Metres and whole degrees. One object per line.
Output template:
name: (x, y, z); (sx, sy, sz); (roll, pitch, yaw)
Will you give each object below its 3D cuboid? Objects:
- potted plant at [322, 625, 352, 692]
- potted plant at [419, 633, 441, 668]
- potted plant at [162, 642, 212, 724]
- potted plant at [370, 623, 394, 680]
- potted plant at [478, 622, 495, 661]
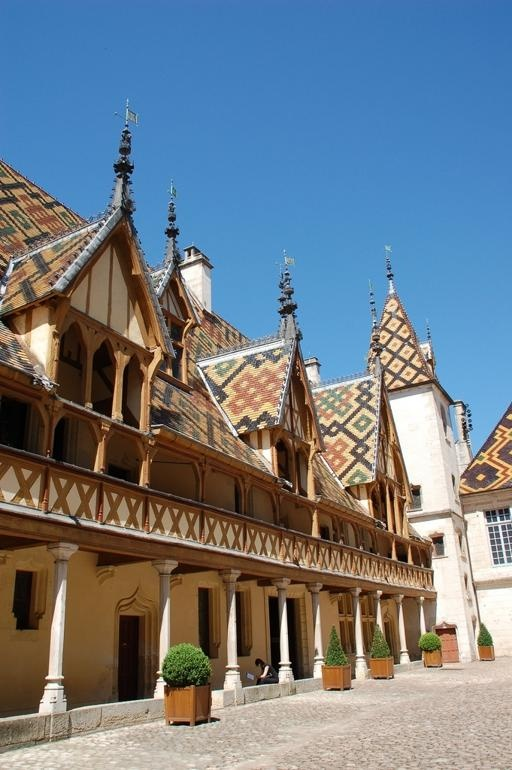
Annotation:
potted plant: (2.171, 7.701, 16.137); (0.727, 1.504, 0.718); (21, -32, -35)
potted plant: (7.791, 12.011, 25.966); (0.907, 1.416, 1.089); (-10, -22, 14)
potted plant: (-1.120, 4.816, 9.290); (0.720, 1.125, 0.857); (-15, -27, 29)
potted plant: (4.288, 9.272, 20.032); (0.827, 1.696, 0.857); (6, -23, -19)
potted plant: (12.597, 14.312, 31.981); (0.828, 1.757, 2.166); (-10, -22, 16)
